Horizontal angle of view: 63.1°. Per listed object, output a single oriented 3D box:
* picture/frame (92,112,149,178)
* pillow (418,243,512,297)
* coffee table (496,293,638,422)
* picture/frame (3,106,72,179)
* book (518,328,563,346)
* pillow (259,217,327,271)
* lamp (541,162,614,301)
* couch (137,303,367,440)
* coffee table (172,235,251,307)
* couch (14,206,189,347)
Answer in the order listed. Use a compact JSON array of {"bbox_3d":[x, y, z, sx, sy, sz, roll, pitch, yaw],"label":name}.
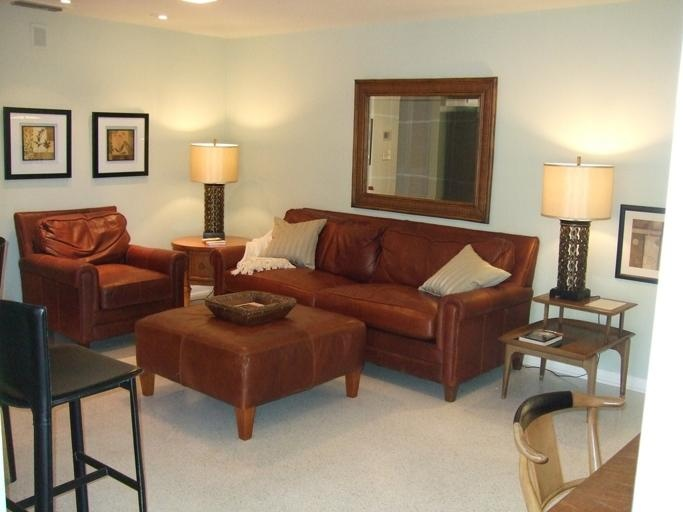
[{"bbox_3d":[-2.259,-1.134,5.600,0.070,0.702,0.675,16,17,42],"label":"picture/frame"},{"bbox_3d":[0.938,0.137,4.336,0.416,0.371,0.573,-4,12,-27],"label":"pillow"},{"bbox_3d":[1.639,0.673,4.147,0.718,0.763,0.929,8,11,44],"label":"coffee table"},{"bbox_3d":[-2.792,-1.041,5.047,0.052,0.732,0.649,17,20,41],"label":"picture/frame"},{"bbox_3d":[1.434,0.569,3.957,0.250,0.037,0.377,11,14,39],"label":"book"},{"bbox_3d":[-0.437,-0.171,5.293,0.519,0.497,0.159,8,-17,22],"label":"pillow"},{"bbox_3d":[1.698,-0.197,4.099,0.486,1.033,0.320,6,12,19],"label":"lamp"},{"bbox_3d":[-0.456,0.603,3.657,0.988,0.459,0.933,8,8,42],"label":"couch"},{"bbox_3d":[-1.420,0.042,5.684,0.725,0.552,0.762,6,14,22],"label":"coffee table"},{"bbox_3d":[-2.144,0.096,5.064,1.302,1.143,1.280,9,12,42],"label":"couch"}]
